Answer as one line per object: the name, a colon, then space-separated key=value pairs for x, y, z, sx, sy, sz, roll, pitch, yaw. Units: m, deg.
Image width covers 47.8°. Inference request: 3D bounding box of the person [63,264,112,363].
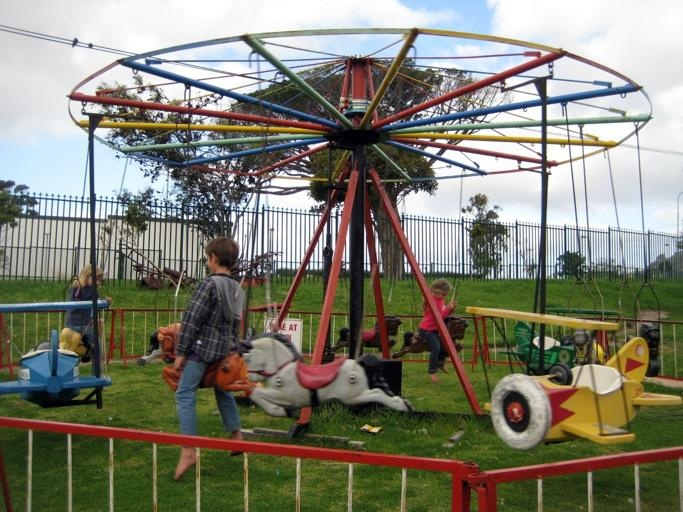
person: x=-4.006 y=0.937 z=12.151 sx=0.717 sy=1.651 sz=0.618 roll=-3 pitch=17 yaw=-26
